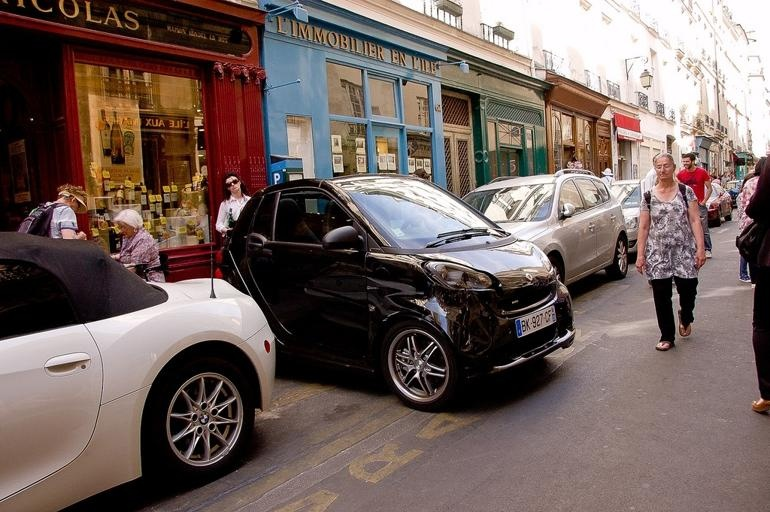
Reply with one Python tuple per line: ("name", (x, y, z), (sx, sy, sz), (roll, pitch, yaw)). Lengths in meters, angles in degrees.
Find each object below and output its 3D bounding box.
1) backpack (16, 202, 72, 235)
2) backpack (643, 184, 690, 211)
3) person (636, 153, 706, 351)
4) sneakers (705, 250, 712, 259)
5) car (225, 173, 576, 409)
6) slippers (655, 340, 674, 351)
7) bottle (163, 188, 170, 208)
("backpack", (-4.516, -0.507, 6.462), (0.434, 0.444, 0.329), (-24, -8, 2))
("backpack", (3.445, -0.740, 6.005), (0.388, 0.454, 0.280), (-1, 3, 6))
("person", (3.478, -0.091, 5.989), (0.780, 2.318, 0.570), (-6, 8, -14))
("sneakers", (7.435, -0.034, 11.270), (0.175, 0.184, 0.426), (-2, -2, 27))
("car", (0.178, 0.235, 5.721), (3.480, 1.904, 2.181), (2, 9, 31))
("slippers", (3.372, 1.079, 5.898), (0.254, 0.068, 0.095), (-2, 5, -39))
("bottle", (-4.318, -1.185, 9.716), (0.038, 0.403, 0.180), (1, 9, 34))
